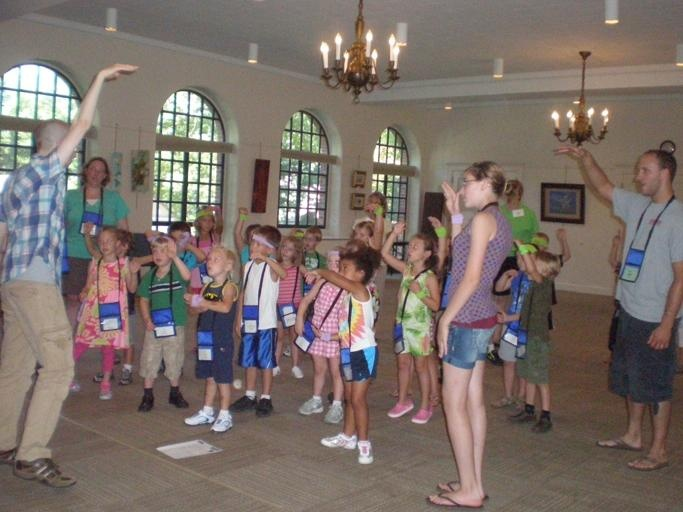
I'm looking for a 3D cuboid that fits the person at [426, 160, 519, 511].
[{"bbox_3d":[0.781,0.453,3.533,0.401,2.021,0.643,4,5,9],"label":"person"}]

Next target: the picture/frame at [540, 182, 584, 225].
[{"bbox_3d":[4.929,-1.168,13.025,0.941,0.925,0.066,4,4,39],"label":"picture/frame"}]

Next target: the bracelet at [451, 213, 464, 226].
[{"bbox_3d":[0.795,-0.250,3.995,0.086,0.077,0.107,-1,-2,31],"label":"bracelet"}]

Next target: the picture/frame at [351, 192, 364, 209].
[{"bbox_3d":[0.358,-1.246,13.339,0.069,0.411,0.493,3,6,39],"label":"picture/frame"}]

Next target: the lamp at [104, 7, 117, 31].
[{"bbox_3d":[-3.078,-3.170,7.891,0.129,0.276,0.416,1,6,-23],"label":"lamp"}]

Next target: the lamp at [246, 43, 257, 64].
[{"bbox_3d":[-1.389,-3.209,9.285,0.124,0.263,0.393,2,5,-7],"label":"lamp"}]

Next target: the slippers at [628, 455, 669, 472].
[{"bbox_3d":[2.129,1.416,4.072,0.211,0.055,0.109,0,-2,-9],"label":"slippers"}]

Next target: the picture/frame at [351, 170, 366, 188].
[{"bbox_3d":[0.373,-1.742,13.341,0.056,0.294,0.415,12,7,38],"label":"picture/frame"}]

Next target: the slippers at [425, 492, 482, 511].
[{"bbox_3d":[0.667,1.439,3.476,0.237,0.041,0.117,2,1,18],"label":"slippers"}]

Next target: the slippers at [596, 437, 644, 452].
[{"bbox_3d":[2.074,1.396,4.400,0.224,0.052,0.111,2,-2,23],"label":"slippers"}]
